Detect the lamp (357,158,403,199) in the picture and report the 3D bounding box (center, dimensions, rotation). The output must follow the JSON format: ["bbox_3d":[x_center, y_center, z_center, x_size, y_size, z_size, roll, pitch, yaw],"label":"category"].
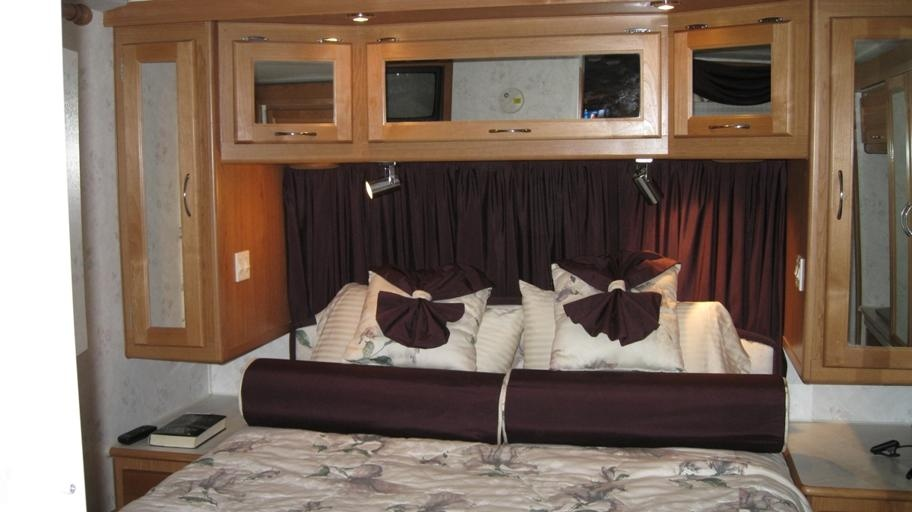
[{"bbox_3d":[-0.418,-0.442,3.968,0.137,0.191,0.249,1,10,16],"label":"lamp"}]

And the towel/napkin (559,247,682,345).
[{"bbox_3d":[0.878,0.185,3.668,0.614,0.155,0.492,1,38,18],"label":"towel/napkin"}]

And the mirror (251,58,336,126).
[{"bbox_3d":[-0.866,-0.890,3.687,0.456,0.253,0.044,0,0,3],"label":"mirror"}]

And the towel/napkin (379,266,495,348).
[{"bbox_3d":[-0.159,0.253,3.787,0.577,0.190,0.454,5,42,14],"label":"towel/napkin"}]

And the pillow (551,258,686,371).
[{"bbox_3d":[0.830,0.335,3.569,0.588,0.185,0.494,2,52,8],"label":"pillow"}]

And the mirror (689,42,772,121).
[{"bbox_3d":[1.376,-0.874,3.430,0.505,0.332,0.040,0,5,10],"label":"mirror"}]

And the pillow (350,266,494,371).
[{"bbox_3d":[-0.146,0.349,3.848,0.677,0.207,0.558,4,51,6],"label":"pillow"}]

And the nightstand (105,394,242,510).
[{"bbox_3d":[-1.494,1.019,3.561,0.455,0.389,0.741,2,13,23],"label":"nightstand"}]

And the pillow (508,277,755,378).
[{"bbox_3d":[0.922,0.421,3.677,0.967,0.243,0.475,3,66,1],"label":"pillow"}]

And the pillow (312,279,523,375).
[{"bbox_3d":[-0.181,0.195,3.531,1.092,0.236,0.552,2,46,8],"label":"pillow"}]
